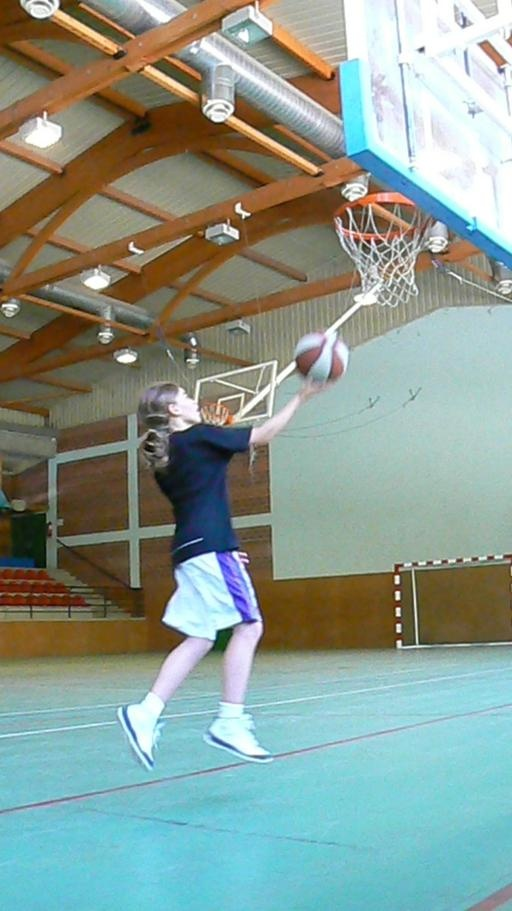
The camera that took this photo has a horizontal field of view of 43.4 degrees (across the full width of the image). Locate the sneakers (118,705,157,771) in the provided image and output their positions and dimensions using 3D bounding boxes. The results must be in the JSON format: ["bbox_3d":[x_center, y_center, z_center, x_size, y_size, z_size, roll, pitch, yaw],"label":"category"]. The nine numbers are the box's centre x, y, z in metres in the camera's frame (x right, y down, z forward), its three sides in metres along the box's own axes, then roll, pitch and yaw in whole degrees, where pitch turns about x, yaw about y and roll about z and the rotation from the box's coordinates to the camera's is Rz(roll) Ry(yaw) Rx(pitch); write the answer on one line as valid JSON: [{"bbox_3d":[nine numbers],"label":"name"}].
[{"bbox_3d":[-0.377,0.901,2.050,0.126,0.211,0.138,-1,-2,-13],"label":"sneakers"}]

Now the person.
[{"bbox_3d":[-0.195,0.425,2.337,0.720,1.471,0.707,0,-3,-37],"label":"person"}]

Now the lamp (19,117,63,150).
[{"bbox_3d":[-2.865,-4.337,8.536,0.371,0.389,0.549,1,-3,-38],"label":"lamp"}]

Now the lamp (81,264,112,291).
[{"bbox_3d":[-3.126,-3.539,12.564,0.488,0.419,0.384,-3,-3,37],"label":"lamp"}]

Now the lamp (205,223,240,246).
[{"bbox_3d":[-0.621,-3.979,11.241,0.494,0.389,0.488,1,-16,-11],"label":"lamp"}]

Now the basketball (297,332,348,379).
[{"bbox_3d":[0.242,-0.371,2.471,0.180,0.226,0.187,7,2,-5],"label":"basketball"}]
